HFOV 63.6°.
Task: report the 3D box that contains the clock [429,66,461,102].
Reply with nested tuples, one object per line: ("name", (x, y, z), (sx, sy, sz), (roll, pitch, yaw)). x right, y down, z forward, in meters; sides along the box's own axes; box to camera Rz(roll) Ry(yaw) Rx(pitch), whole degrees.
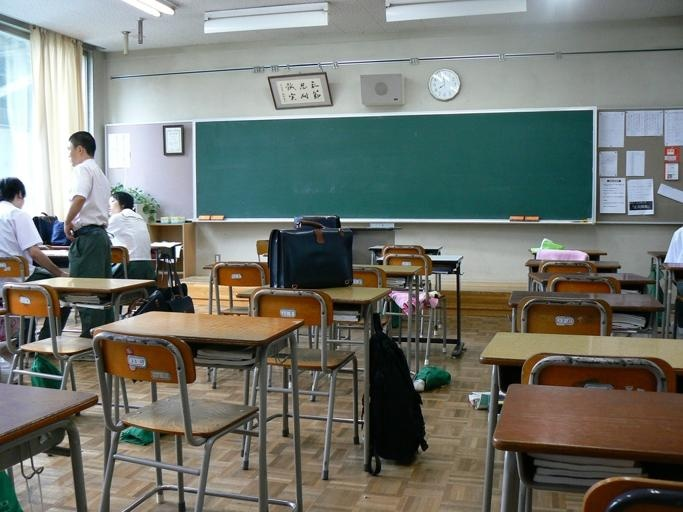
("clock", (1.296, -2.142, 6.943), (0.392, 0.402, 0.386), (0, 4, 2))

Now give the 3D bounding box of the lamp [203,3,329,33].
("lamp", (-0.873, -2.764, 6.417), (1.575, 0.319, 0.210), (-1, 6, 18))

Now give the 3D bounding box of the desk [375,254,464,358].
("desk", (0.649, 0.425, 4.591), (0.818, 0.739, 0.422), (5, 9, 40))

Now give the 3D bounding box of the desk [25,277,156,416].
("desk", (-1.307, 0.453, 2.856), (0.716, 0.697, 0.550), (4, 11, 15))

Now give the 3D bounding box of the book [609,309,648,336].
("book", (1.593, 0.372, 3.044), (0.192, 0.068, 0.150), (1, 1, 16))

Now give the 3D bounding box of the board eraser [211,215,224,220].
("board eraser", (-1.707, -0.530, 7.585), (0.105, 0.075, 0.025), (0, 3, 4))

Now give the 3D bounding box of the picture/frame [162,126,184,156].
("picture/frame", (-2.346, -1.620, 7.702), (0.397, 0.525, 0.055), (2, 5, 7))

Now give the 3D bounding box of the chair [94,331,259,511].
("chair", (-0.631, 0.594, 2.126), (0.472, 0.694, 0.438), (0, 6, 27))

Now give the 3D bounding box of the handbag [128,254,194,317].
("handbag", (-1.459, 0.221, 4.378), (0.325, 0.573, 0.594), (-1, 1, 9))

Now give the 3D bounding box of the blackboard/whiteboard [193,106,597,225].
("blackboard/whiteboard", (0.631, -1.133, 7.074), (4.941, 1.576, 0.156), (-2, 6, 12))

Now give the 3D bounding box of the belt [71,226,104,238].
("belt", (-1.983, -0.194, 4.307), (0.228, 0.088, 0.136), (-5, 6, -26))

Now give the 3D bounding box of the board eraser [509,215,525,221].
("board eraser", (2.188, -0.461, 6.769), (0.174, 0.077, 0.065), (-1, 6, 17))

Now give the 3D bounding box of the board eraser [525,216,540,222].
("board eraser", (2.366, -0.454, 6.735), (0.177, 0.071, 0.065), (-2, 5, 14))

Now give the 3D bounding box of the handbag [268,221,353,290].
("handbag", (-0.163, 0.011, 2.960), (0.463, 0.343, 0.170), (-1, 3, -34))
